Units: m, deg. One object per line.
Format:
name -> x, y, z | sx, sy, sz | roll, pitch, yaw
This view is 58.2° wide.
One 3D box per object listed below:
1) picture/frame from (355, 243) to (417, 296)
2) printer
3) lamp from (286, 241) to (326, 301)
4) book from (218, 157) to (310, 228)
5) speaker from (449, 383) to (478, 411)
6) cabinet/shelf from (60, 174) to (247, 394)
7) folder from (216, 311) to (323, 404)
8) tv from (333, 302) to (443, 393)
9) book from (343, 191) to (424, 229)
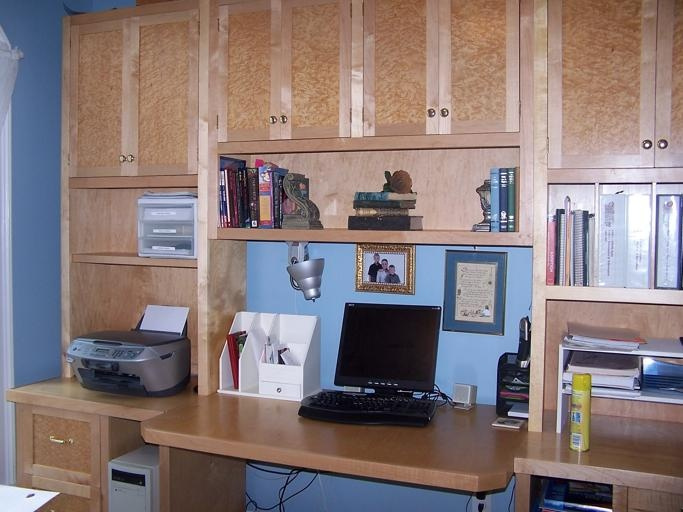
picture/frame -> 0.245, 0.067, 3.197 | 0.269, 0.225, 0.022 | 1, 1, 16
printer -> -1.082, 0.511, 3.216 | 0.551, 0.411, 0.482 | -1, -5, 23
lamp -> -0.184, 0.091, 3.274 | 0.202, 0.344, 0.255 | -2, 14, -4
book -> -0.362, -0.252, 3.237 | 0.357, 0.477, 0.494 | 2, 0, 19
speaker -> 0.596, 0.683, 2.993 | 0.112, 0.111, 0.114 | -2, -1, 23
cabinet/shelf -> -0.998, 0.176, 3.325 | 1.186, 1.354, 0.428 | 0, 0, 16
folder -> -0.392, 0.524, 3.200 | 0.461, 0.363, 0.250 | 1, 3, 16
tv -> 0.250, 0.462, 3.051 | 0.444, 0.371, 0.033 | 4, -14, 21
book -> 0.207, -0.216, 2.949 | 0.335, 0.179, 0.202 | 2, 15, 14
